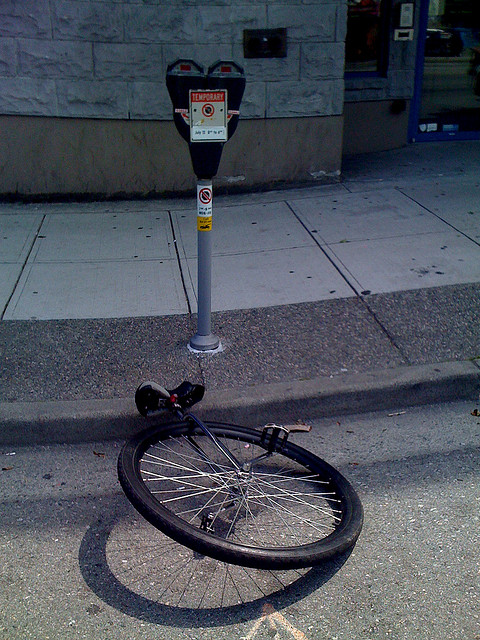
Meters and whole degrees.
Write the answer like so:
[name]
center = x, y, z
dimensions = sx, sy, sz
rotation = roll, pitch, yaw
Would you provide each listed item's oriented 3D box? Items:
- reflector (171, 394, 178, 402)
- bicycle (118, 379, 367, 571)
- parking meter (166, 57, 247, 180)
[reflector]
center = -0.314, 0.358, 2.596
dimensions = 0.025, 0.010, 0.027
rotation = 1, 43, -4
[bicycle]
center = -0.014, 0.608, 2.439
dimensions = 1.115, 0.327, 0.993
rotation = 26, 21, 21
[parking meter]
center = -0.203, -1.101, 3.169
dimensions = 0.396, 0.660, 0.398
rotation = -2, 22, -9
